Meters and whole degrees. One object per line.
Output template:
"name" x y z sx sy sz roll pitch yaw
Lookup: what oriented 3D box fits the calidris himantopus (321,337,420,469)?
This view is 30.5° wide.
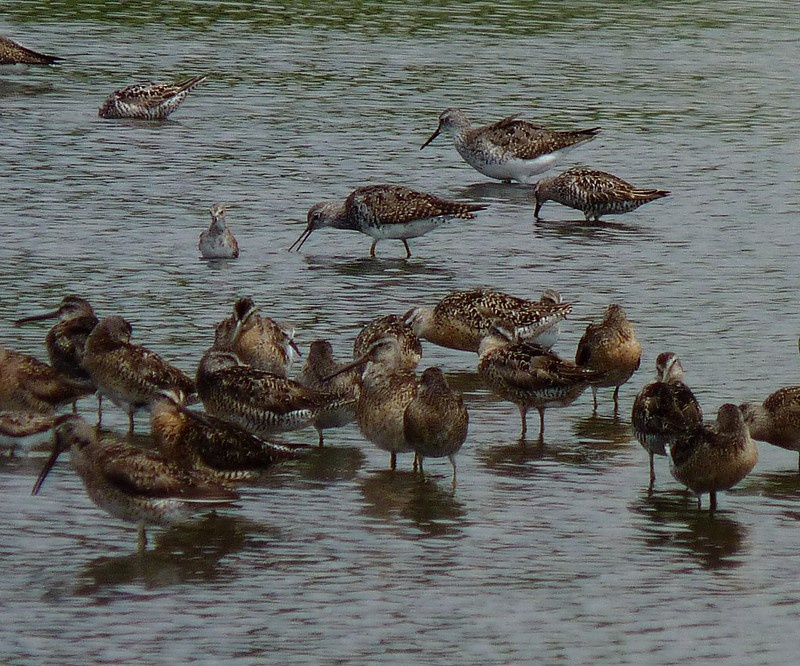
"calidris himantopus" -0.173 0.525 13.090 0.478 0.843 1.244 18 57 -35

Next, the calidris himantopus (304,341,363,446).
"calidris himantopus" -0.672 0.541 14.058 0.615 0.744 0.988 0 45 5

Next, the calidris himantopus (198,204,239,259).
"calidris himantopus" -2.540 -1.367 20.695 0.569 0.590 0.823 1 4 -1

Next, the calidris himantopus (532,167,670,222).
"calidris himantopus" 3.202 -2.171 24.014 2.012 0.898 0.565 11 30 17

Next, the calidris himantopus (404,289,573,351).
"calidris himantopus" 1.012 -0.197 16.440 1.978 0.686 0.734 -9 1 24

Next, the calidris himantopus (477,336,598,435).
"calidris himantopus" 1.283 0.487 14.204 0.720 0.858 1.303 -8 29 -20

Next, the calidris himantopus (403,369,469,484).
"calidris himantopus" 0.339 0.769 12.928 0.677 0.874 1.202 -2 14 1
